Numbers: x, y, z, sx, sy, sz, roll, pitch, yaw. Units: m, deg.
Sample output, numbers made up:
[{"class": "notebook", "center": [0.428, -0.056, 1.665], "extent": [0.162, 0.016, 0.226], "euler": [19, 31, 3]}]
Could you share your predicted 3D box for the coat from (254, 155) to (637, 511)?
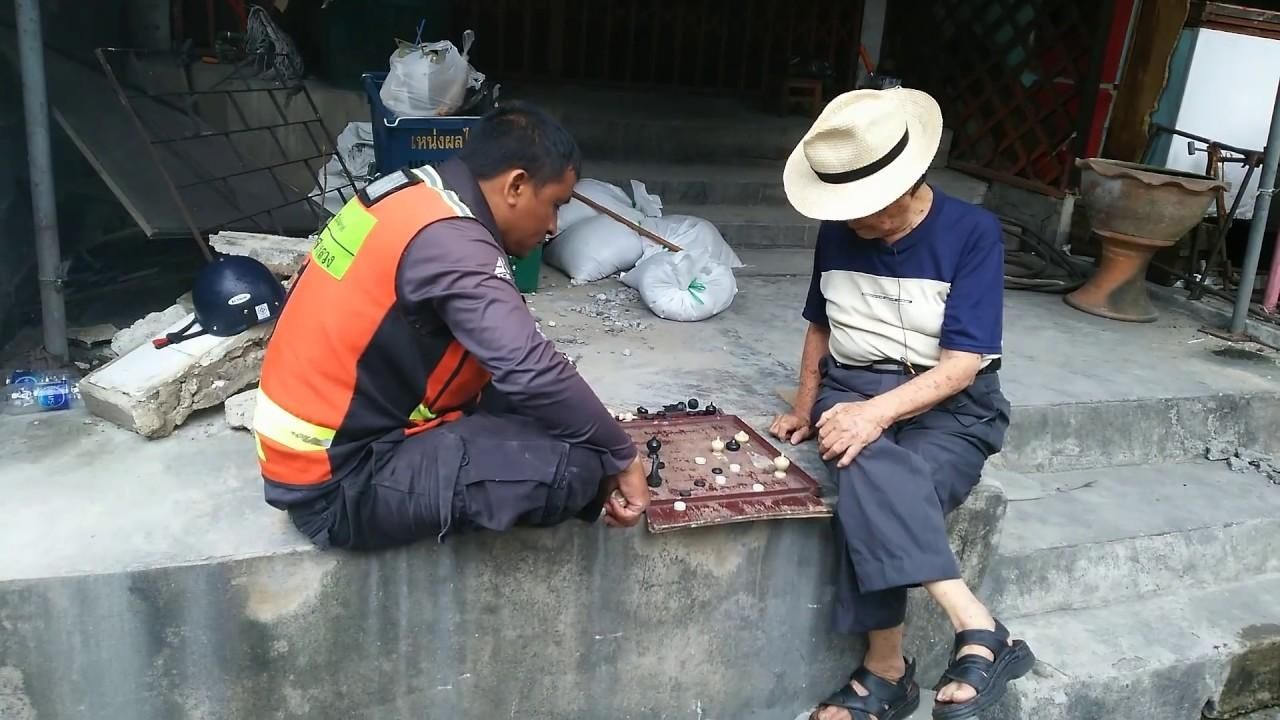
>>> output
[{"class": "coat", "center": [-1.207, 0.064, 5.223], "extent": [1.700, 1.675, 2.113], "euler": [-7, 26, -26]}]

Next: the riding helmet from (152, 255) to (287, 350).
[{"class": "riding helmet", "center": [-2.752, -0.368, 6.176], "extent": [0.716, 0.411, 0.452], "euler": [-44, 57, -14]}]

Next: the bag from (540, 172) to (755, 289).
[{"class": "bag", "center": [-0.017, -1.082, 8.067], "extent": [1.267, 0.420, 1.113], "euler": [7, 32, -34]}]

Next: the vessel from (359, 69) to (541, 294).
[{"class": "vessel", "center": [-1.685, -1.564, 7.787], "extent": [1.323, 1.324, 1.858], "euler": [-4, 21, -19]}]

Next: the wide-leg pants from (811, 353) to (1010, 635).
[{"class": "wide-leg pants", "center": [1.607, 0.589, 5.575], "extent": [1.044, 0.714, 2.308], "euler": [-5, 37, 25]}]

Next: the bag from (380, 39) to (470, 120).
[{"class": "bag", "center": [-1.649, -2.125, 7.304], "extent": [0.654, 0.656, 0.681], "euler": [-20, 30, -39]}]

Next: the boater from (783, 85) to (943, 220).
[{"class": "boater", "center": [1.211, -1.137, 5.137], "extent": [0.809, 0.241, 0.752], "euler": [-32, 57, 13]}]

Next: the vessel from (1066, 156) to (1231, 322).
[{"class": "vessel", "center": [4.134, -1.013, 7.908], "extent": [1.210, 1.211, 1.308], "euler": [12, 19, 15]}]
